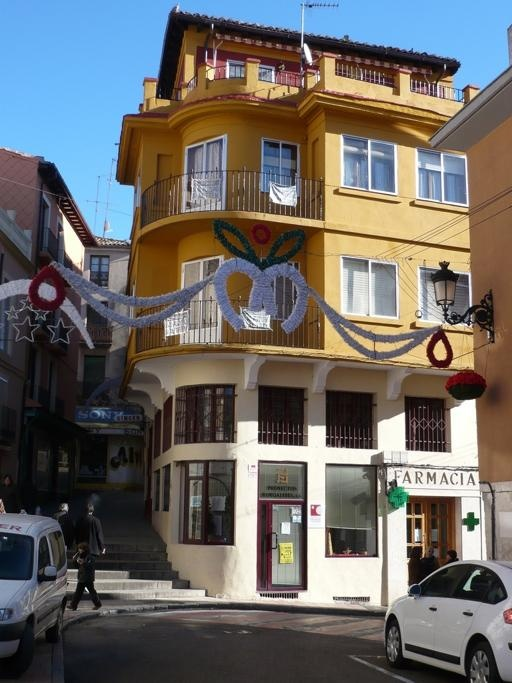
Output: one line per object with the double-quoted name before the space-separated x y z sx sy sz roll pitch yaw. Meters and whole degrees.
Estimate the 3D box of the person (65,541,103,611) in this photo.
"person" -3.099 4.338 13.420 0.569 1.212 1.203 5 -15 -12

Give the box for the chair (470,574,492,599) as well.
"chair" 2.115 2.303 6.854 0.127 0.191 0.190 -1 -50 15
